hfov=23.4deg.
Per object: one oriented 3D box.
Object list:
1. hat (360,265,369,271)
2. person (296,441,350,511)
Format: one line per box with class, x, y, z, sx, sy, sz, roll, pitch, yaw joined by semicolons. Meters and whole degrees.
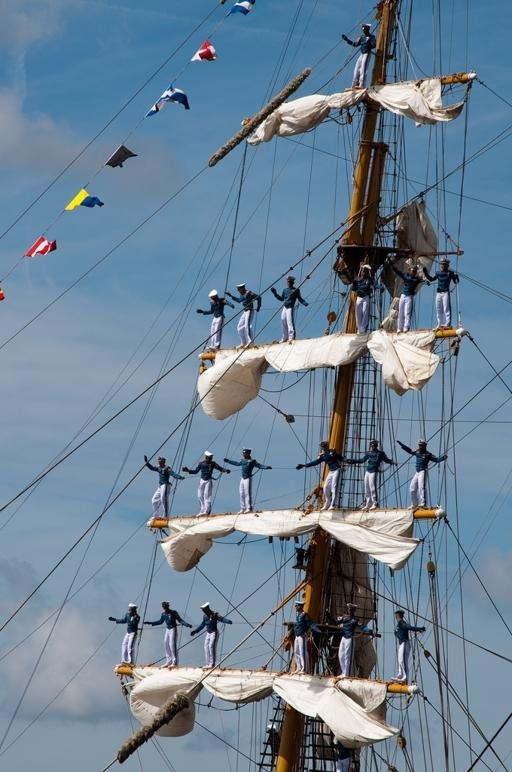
hat;2.731;-3.015;31.212;0.196;0.119;0.191;-2;-4;30
person;1.755;1.852;30.134;0.661;1.852;1.293;7;-34;1
